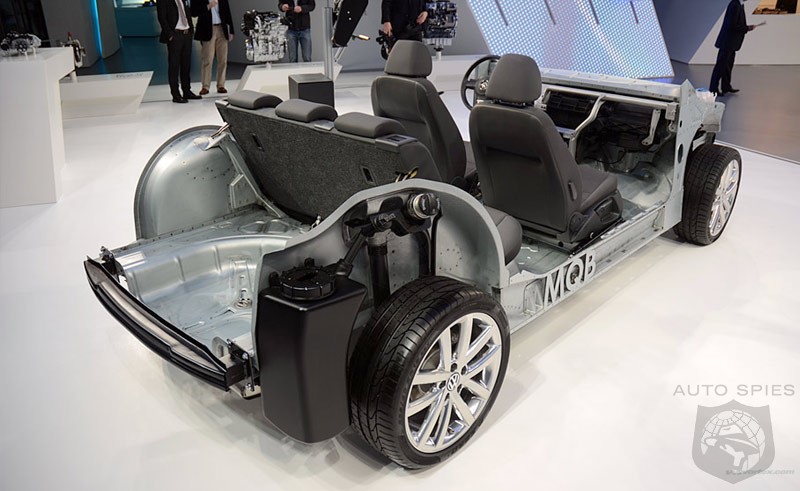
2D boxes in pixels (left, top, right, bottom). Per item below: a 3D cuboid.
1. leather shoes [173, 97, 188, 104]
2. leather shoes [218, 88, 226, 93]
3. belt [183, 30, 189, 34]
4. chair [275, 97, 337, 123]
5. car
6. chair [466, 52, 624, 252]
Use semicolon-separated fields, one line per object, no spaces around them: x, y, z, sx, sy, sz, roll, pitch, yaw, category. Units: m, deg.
-3.977;-2.648;8.805;0.200;0.081;0.110;-5;26;-12;leather shoes
-3.509;-3.080;9.598;0.095;0.106;0.250;-23;27;-34;leather shoes
-3.707;-3.734;8.482;0.029;0.042;0.101;12;31;26;belt
-0.597;-0.840;3.022;0.448;0.101;0.191;18;34;34;chair
0.504;-0.334;3.671;4.653;1.835;2.662;-25;35;-35;car
1.115;-0.736;3.608;0.925;1.327;1.164;21;38;39;chair
